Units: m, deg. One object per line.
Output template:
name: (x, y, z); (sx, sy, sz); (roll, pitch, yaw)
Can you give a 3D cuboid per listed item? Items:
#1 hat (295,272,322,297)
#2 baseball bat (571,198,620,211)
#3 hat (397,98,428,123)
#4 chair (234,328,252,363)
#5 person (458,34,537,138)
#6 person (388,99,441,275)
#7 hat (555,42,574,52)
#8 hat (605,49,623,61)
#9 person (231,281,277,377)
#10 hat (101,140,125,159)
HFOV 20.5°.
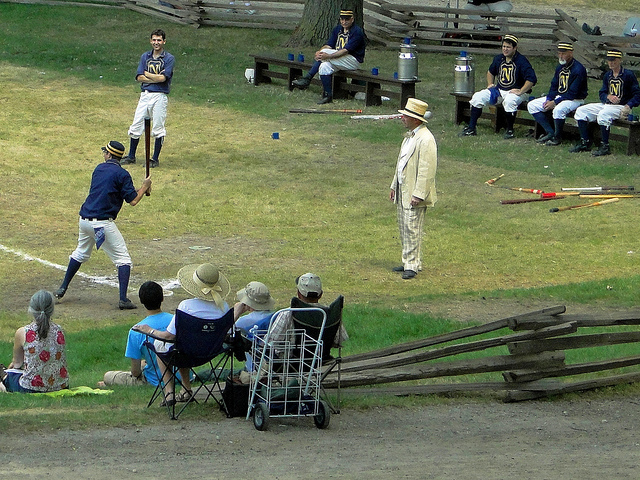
hat: (-0.208, 0.700, 28.726); (0.322, 0.219, 0.422); (-3, 26, -11)
baseball bat: (5.791, -0.784, 37.013); (0.924, 0.102, 0.123); (-9, -23, -12)
hat: (1.792, -2.436, 32.992); (0.501, 0.237, 0.469); (18, 9, -28)
chair: (-1.312, 1.703, 28.822); (0.297, 0.574, 0.492); (4, 8, -6)
person: (4.207, -3.602, 41.047); (1.441, 2.403, 0.766); (12, 11, 41)
person: (1.732, -1.034, 33.489); (0.832, 3.359, 0.914); (6, 9, 2)
hat: (5.547, -4.394, 39.637); (0.327, 0.159, 0.441); (10, 19, 42)
hat: (6.481, -4.126, 38.797); (0.319, 0.167, 0.431); (3, 14, 40)
person: (-1.080, 1.401, 28.898); (0.903, 1.411, 0.868); (-4, 14, -28)
hat: (-3.863, -1.713, 32.202); (0.398, 0.195, 0.296); (29, 22, 28)
